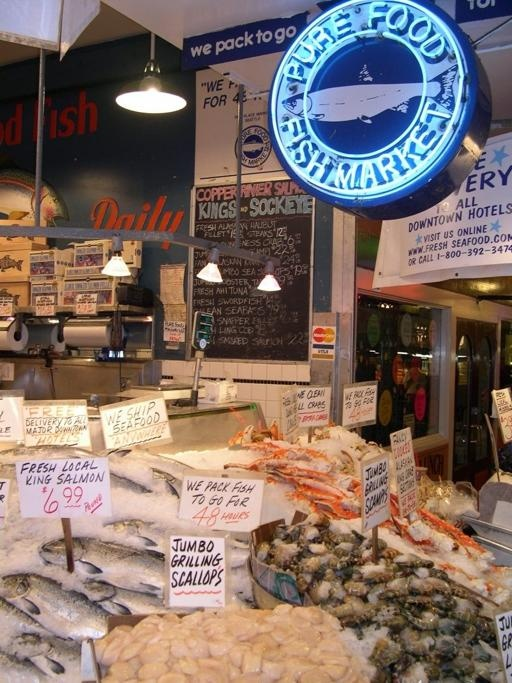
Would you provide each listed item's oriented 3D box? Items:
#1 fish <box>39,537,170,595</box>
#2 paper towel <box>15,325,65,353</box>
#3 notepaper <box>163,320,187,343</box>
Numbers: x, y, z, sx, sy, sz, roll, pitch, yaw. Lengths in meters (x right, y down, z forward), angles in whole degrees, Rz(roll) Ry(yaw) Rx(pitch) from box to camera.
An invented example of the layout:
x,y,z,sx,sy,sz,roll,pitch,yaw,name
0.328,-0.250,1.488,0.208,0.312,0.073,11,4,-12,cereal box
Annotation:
x,y,z,sx,sy,sz,roll,pitch,yaw,name
-0.336,0.495,1.166,0.327,0.056,0.095,11,37,-2,fish
-2.350,-0.028,5.876,0.270,0.172,0.174,-9,19,26,paper towel
-0.800,-0.102,5.422,0.232,0.195,0.033,-1,-11,23,notepaper
